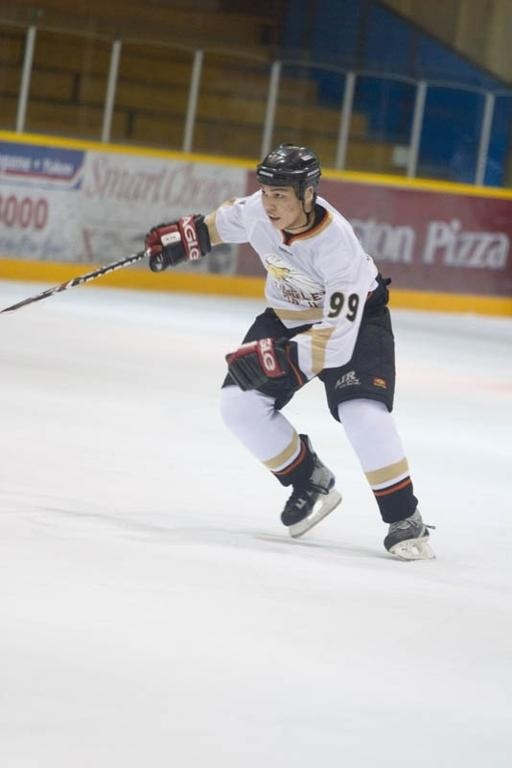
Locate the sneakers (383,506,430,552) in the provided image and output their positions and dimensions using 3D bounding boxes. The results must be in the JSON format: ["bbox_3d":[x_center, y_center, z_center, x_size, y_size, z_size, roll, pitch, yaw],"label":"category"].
[{"bbox_3d":[0.348,0.324,1.777,0.143,0.045,0.091,9,41,-42],"label":"sneakers"}]

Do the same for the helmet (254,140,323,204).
[{"bbox_3d":[0.061,-0.484,1.843,0.123,0.117,0.155,18,22,41],"label":"helmet"}]

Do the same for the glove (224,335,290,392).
[{"bbox_3d":[-0.001,-0.044,1.820,0.137,0.123,0.047,10,6,-2],"label":"glove"}]

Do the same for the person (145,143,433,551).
[{"bbox_3d":[0.089,-0.104,1.977,0.871,0.615,0.420,11,6,13],"label":"person"}]

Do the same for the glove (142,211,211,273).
[{"bbox_3d":[-0.199,-0.389,2.191,0.194,0.126,0.077,-13,7,11],"label":"glove"}]
